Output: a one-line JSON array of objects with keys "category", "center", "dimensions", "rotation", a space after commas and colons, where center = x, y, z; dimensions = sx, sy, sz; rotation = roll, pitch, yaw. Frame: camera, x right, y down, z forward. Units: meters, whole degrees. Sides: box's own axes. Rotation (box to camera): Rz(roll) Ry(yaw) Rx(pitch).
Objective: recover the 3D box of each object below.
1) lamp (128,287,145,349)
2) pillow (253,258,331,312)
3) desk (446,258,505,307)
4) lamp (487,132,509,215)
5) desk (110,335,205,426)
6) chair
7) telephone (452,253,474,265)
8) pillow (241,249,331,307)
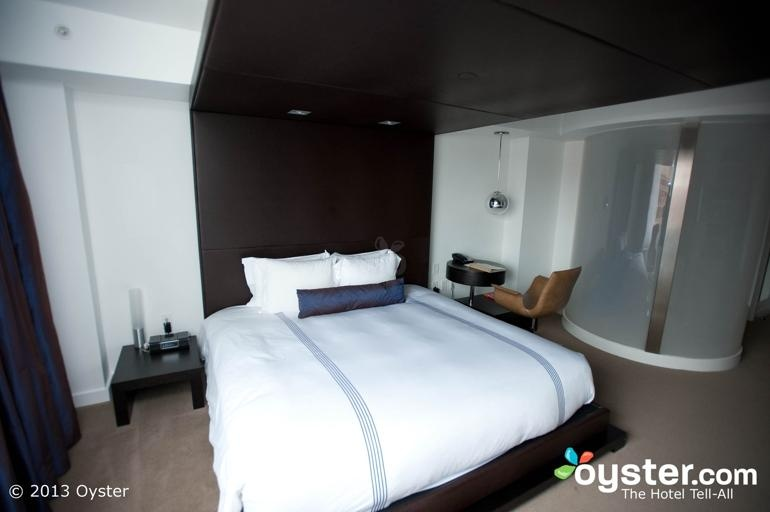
[{"category": "lamp", "center": [-2.399, 0.603, 4.625], "dimensions": [0.118, 0.566, 0.121], "rotation": [-3, 3, -3]}, {"category": "pillow", "center": [-0.951, 0.262, 4.723], "dimensions": [0.600, 0.570, 0.176], "rotation": [6, -7, -19]}, {"category": "desk", "center": [1.116, 0.322, 6.065], "dimensions": [0.662, 0.734, 0.661], "rotation": [7, 30, 9]}, {"category": "lamp", "center": [1.445, -1.096, 6.129], "dimensions": [0.234, 0.999, 0.647], "rotation": [2, 11, 14]}, {"category": "desk", "center": [-2.152, 1.144, 4.610], "dimensions": [0.775, 0.389, 0.721], "rotation": [-6, 22, -23]}, {"category": "chair", "center": [1.785, 0.504, 5.625], "dimensions": [0.774, 0.918, 0.902], "rotation": [-9, 15, -29]}, {"category": "telephone", "center": [0.957, 0.037, 6.057], "dimensions": [0.149, 0.092, 0.202], "rotation": [-11, 12, -35]}, {"category": "pillow", "center": [-0.859, 0.107, 5.013], "dimensions": [0.750, 0.203, 1.211], "rotation": [-2, 17, -31]}]
